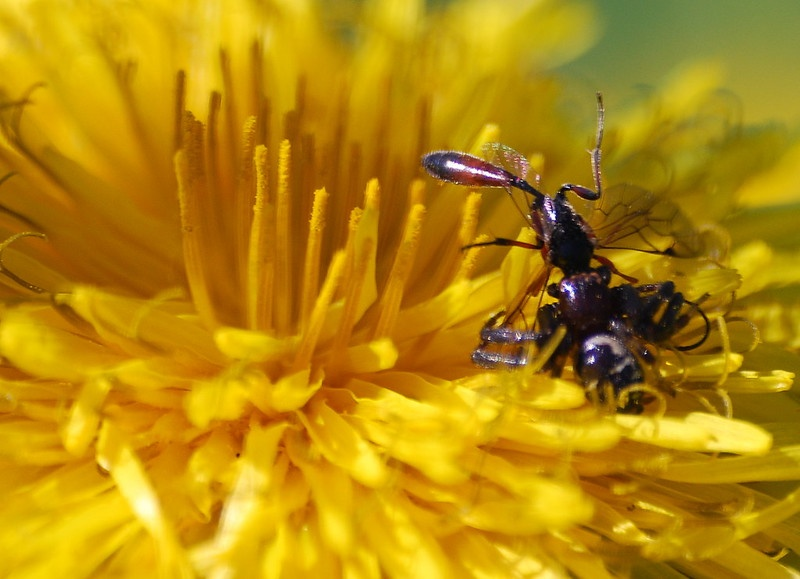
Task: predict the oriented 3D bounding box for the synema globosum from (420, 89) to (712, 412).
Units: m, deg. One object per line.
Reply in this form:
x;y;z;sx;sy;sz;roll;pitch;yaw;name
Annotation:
0.221;-0.026;1.039;0.318;0.101;0.319;-10;79;-10;synema globosum
